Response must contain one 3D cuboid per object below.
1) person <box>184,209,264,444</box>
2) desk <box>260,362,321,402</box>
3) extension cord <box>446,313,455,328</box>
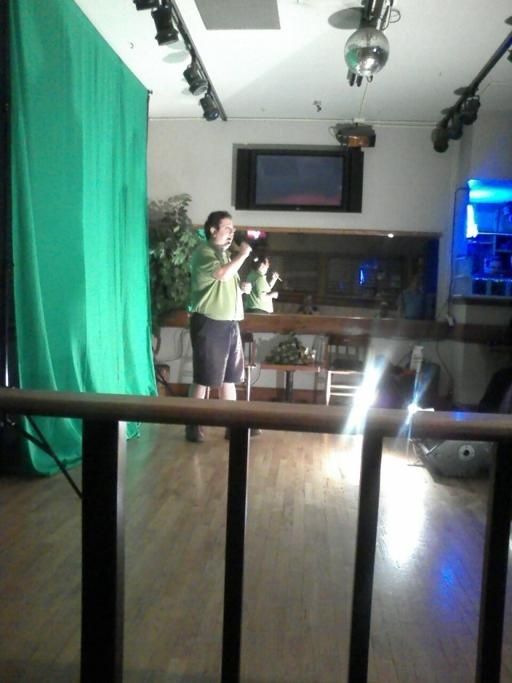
[{"bbox_3d":[-0.258,-0.076,3.473,0.376,1.487,0.552,2,10,-4],"label":"person"},{"bbox_3d":[0.299,0.272,4.541,0.388,0.444,0.425,0,-8,3],"label":"desk"},{"bbox_3d":[1.870,-0.194,5.213,0.072,0.093,0.161,6,11,17],"label":"extension cord"}]
